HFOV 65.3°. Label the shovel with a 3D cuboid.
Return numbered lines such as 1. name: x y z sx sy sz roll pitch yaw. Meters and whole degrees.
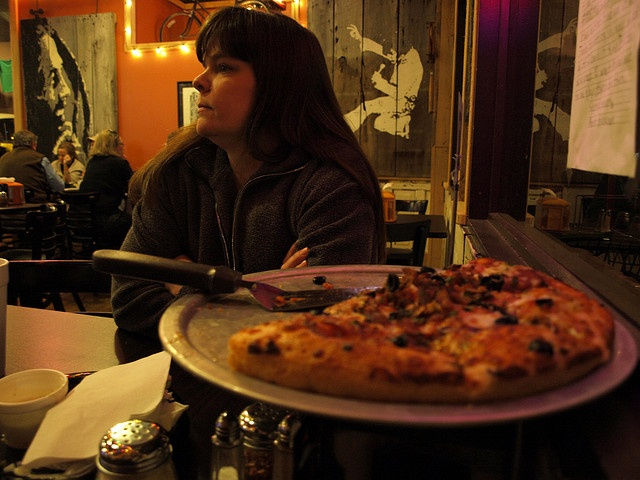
1. shovel: -0.129 0.067 0.844 0.451 0.066 0.072 7 31 8
